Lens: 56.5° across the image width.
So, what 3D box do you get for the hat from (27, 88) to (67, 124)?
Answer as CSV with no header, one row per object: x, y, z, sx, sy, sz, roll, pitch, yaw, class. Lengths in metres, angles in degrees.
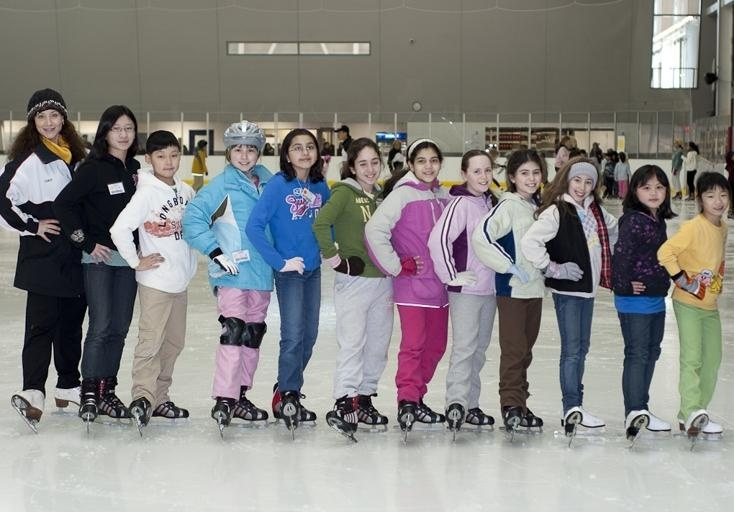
-2.077,-0.981,4.428,0.251,0.212,0.273,0,12,15,hat

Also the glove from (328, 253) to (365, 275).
-0.111,0.052,4.063,0.153,0.061,0.120,13,-11,-3,glove

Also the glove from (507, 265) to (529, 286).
0.897,0.108,4.003,0.117,0.121,0.142,2,8,15,glove

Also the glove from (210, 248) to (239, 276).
-0.863,0.036,4.112,0.063,0.190,0.118,-34,10,29,glove

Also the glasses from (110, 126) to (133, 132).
-1.533,-0.791,4.255,0.115,0.035,0.035,-5,9,-36,glasses

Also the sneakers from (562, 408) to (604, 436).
1.310,0.969,4.093,0.368,0.174,0.122,-3,-1,-37,sneakers

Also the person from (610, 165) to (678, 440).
1.623,0.268,4.046,0.312,1.594,0.469,3,8,27,person

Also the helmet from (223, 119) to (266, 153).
-0.782,-0.769,4.366,0.173,0.224,0.229,1,7,2,helmet

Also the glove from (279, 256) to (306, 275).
-0.451,0.062,4.137,0.144,0.116,0.157,-1,7,-5,glove

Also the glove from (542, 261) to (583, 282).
1.154,0.089,3.956,0.181,0.078,0.110,11,-25,-6,glove
